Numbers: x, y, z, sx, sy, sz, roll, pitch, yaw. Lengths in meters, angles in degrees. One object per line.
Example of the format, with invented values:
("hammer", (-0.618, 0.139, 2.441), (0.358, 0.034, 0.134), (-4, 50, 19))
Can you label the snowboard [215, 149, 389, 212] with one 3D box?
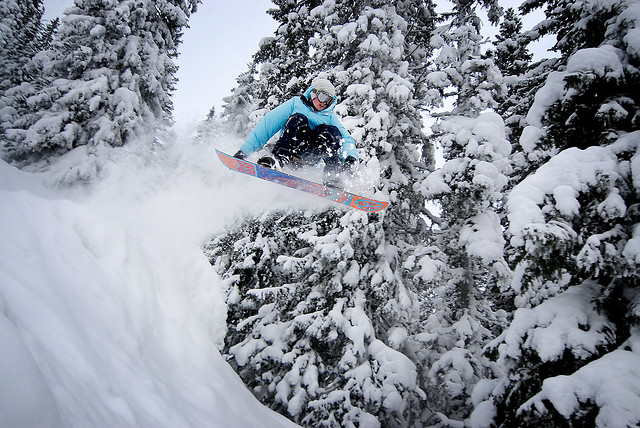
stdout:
("snowboard", (-0.286, -0.862, 15.136), (4.038, 0.511, 0.334), (19, 23, 4))
